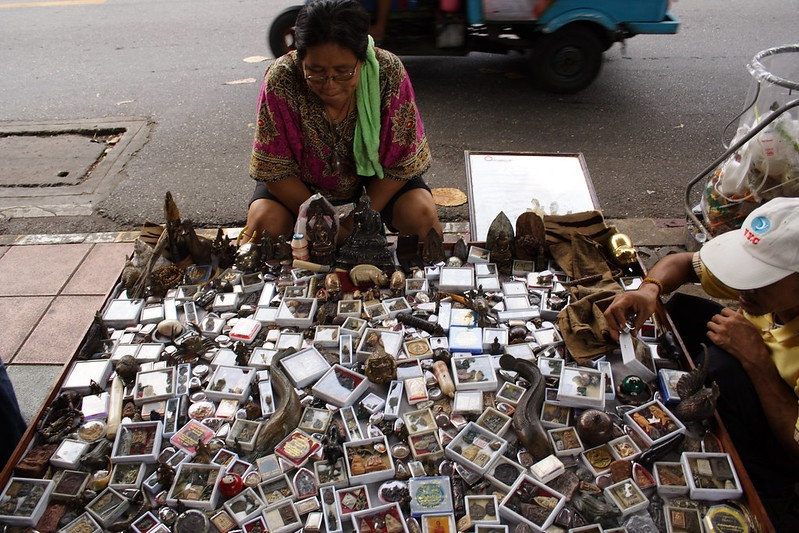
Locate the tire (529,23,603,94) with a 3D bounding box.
[{"bbox_3d":[2.074,-2.619,6.401,0.768,0.700,0.247,5,49,-6],"label":"tire"}]

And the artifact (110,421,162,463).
[{"bbox_3d":[-1.446,0.974,2.836,0.233,0.066,0.234,1,38,-11],"label":"artifact"}]

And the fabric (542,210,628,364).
[{"bbox_3d":[1.253,0.122,3.453,0.630,0.202,0.951,-14,52,7],"label":"fabric"}]

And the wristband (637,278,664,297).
[{"bbox_3d":[1.595,0.113,3.244,0.112,0.048,0.122,-33,51,-8],"label":"wristband"}]

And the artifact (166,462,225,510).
[{"bbox_3d":[-1.065,1.141,2.690,0.261,0.060,0.264,12,29,1],"label":"artifact"}]

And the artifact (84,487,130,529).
[{"bbox_3d":[-1.499,1.243,2.649,0.162,0.059,0.168,35,54,22],"label":"artifact"}]

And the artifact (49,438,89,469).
[{"bbox_3d":[-1.785,1.012,2.782,0.152,0.055,0.140,7,43,8],"label":"artifact"}]

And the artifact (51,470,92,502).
[{"bbox_3d":[-1.721,1.138,2.674,0.157,0.038,0.134,2,34,4],"label":"artifact"}]
